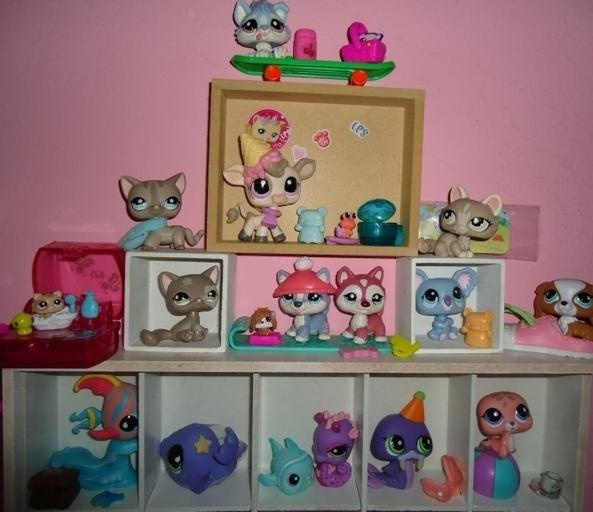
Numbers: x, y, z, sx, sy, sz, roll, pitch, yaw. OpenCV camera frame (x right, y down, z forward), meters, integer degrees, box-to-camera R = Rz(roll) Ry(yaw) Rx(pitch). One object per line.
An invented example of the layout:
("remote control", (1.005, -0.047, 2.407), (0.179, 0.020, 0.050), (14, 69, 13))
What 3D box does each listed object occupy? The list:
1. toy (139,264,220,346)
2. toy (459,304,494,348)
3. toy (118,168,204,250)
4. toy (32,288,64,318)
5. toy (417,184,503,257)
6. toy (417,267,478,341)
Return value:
("toy", (-0.495, 0.205, 2.679), (0.332, 0.322, 0.190), (-1, 3, -8))
("toy", (0.776, 0.299, 2.683), (0.145, 0.209, 0.136), (1, -2, 31))
("toy", (-0.593, -0.195, 2.731), (0.348, 0.329, 0.292), (-2, 3, -17))
("toy", (-1.038, 0.198, 2.609), (0.131, 0.100, 0.145), (-2, 4, -24))
("toy", (0.699, -0.132, 2.864), (0.280, 0.369, 0.370), (11, -9, -3))
("toy", (0.671, 0.216, 2.775), (0.284, 0.308, 0.161), (-1, 1, -13))
